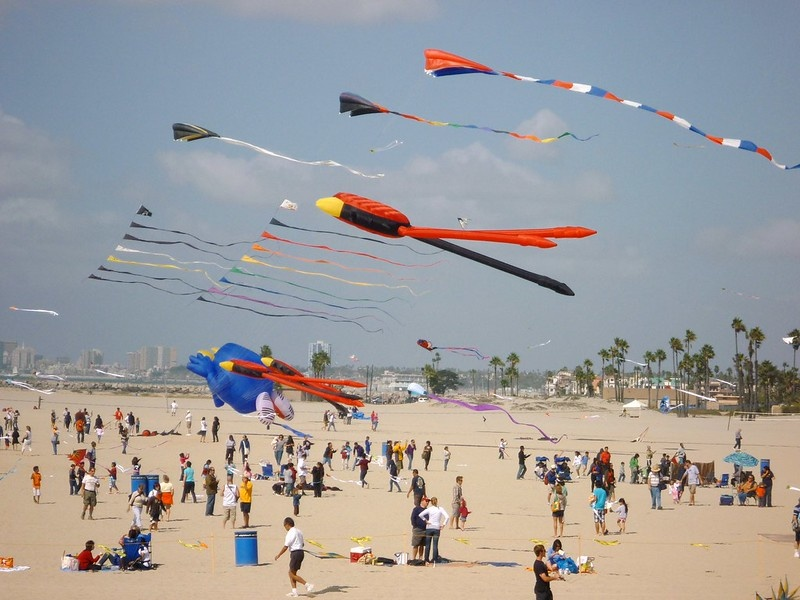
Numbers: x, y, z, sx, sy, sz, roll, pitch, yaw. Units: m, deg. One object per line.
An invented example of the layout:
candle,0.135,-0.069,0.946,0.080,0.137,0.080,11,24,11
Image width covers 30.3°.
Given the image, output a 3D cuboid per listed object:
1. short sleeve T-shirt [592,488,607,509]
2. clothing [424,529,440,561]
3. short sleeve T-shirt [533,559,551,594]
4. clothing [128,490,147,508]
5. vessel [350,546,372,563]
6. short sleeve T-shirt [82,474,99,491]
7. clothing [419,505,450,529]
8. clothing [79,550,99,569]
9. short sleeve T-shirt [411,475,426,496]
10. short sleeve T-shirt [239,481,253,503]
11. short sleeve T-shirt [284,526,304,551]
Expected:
short sleeve T-shirt,9.698,9.716,72.551,0.594,1.060,1.057,-5,-11,38
clothing,1.440,11.469,69.079,0.658,1.557,1.147,2,-7,1
short sleeve T-shirt,6.002,11.751,62.861,0.658,1.400,0.594,2,-7,5
clothing,-12.723,9.674,72.072,1.204,1.020,0.697,4,-16,-26
vessel,-1.818,11.821,68.782,0.728,0.435,0.700,0,-3,-5
short sleeve T-shirt,-15.300,9.046,73.363,0.703,0.836,0.621,4,-8,-13
clothing,1.511,10.093,68.595,1.217,1.092,0.489,3,-7,-2
clothing,-14.313,11.819,67.636,0.693,0.884,0.928,4,5,44
short sleeve T-shirt,0.871,9.310,73.835,0.594,1.043,1.476,3,-7,-3
short sleeve T-shirt,-7.648,9.491,73.141,0.502,1.104,0.928,4,-8,-13
short sleeve T-shirt,-4.668,10.610,65.530,0.709,1.017,0.632,2,-7,5
